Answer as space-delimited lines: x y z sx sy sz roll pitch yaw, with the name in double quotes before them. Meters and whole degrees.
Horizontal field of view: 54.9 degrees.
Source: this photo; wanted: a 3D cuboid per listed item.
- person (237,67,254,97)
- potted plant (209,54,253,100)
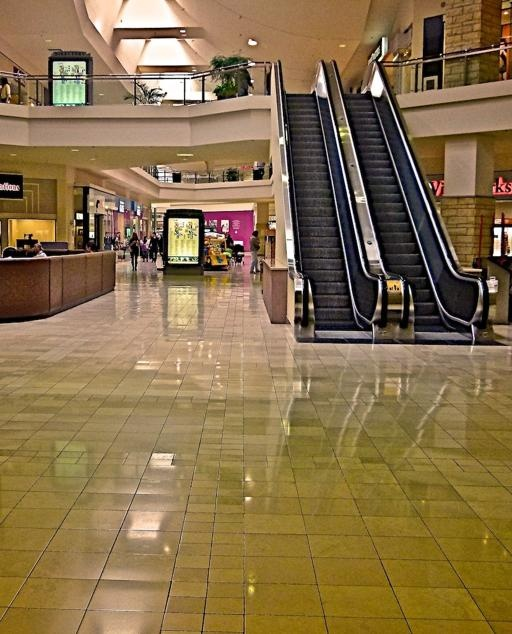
"person" -0.271 -6.280 13.242 0.399 0.735 0.249 1 5 0
"potted plant" -0.618 -6.484 13.574 1.085 1.158 0.772 7 11 20
